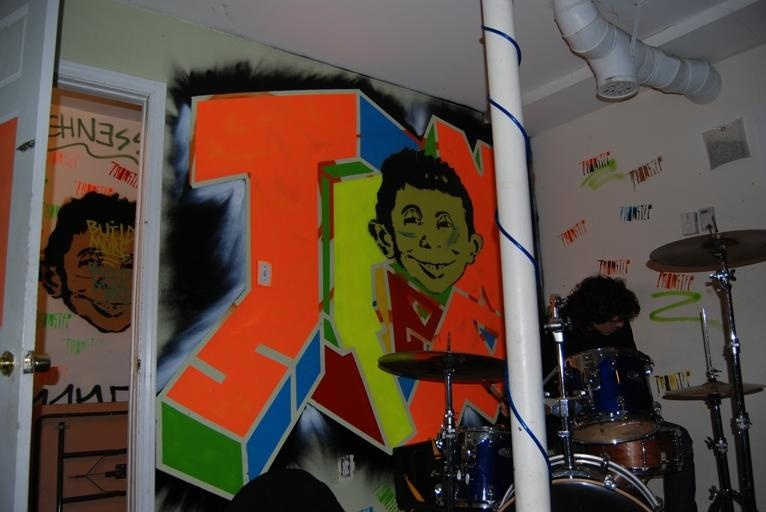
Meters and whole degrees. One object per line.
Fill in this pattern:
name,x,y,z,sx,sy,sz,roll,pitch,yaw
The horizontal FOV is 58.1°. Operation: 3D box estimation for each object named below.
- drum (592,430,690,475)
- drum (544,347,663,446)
drum,1.802,1.341,4.675,0.404,0.161,0.422,-9,-13,-2
drum,1.512,0.923,4.544,0.579,0.626,0.403,-5,-12,15
